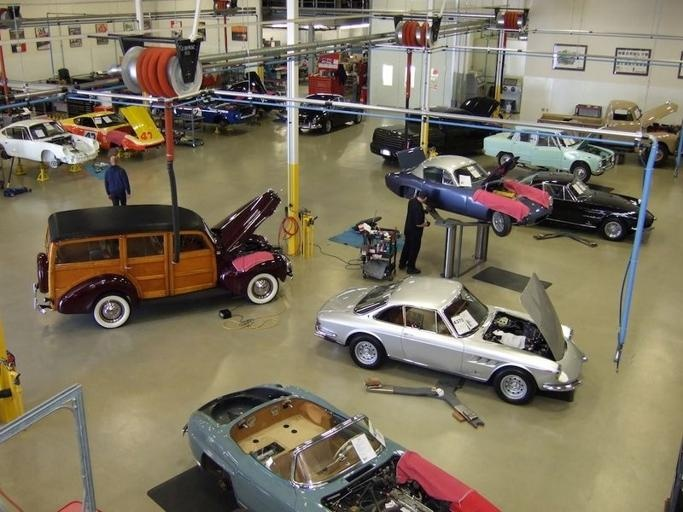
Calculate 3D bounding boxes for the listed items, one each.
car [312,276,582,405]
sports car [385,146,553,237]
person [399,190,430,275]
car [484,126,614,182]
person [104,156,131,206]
[{"bbox_3d":[2.000,1.307,8.918,4.583,1.922,1.952,10,33,20],"label":"car"},{"bbox_3d":[3.154,-1.764,12.442,4.063,1.415,2.084,23,38,35],"label":"sports car"},{"bbox_3d":[1.713,-0.644,11.838,0.635,1.922,0.963,2,18,7],"label":"person"},{"bbox_3d":[6.492,-3.234,15.590,3.837,1.387,2.076,16,36,22],"label":"car"},{"bbox_3d":[-5.851,-1.730,12.955,0.602,1.774,0.394,-6,24,-19],"label":"person"}]
